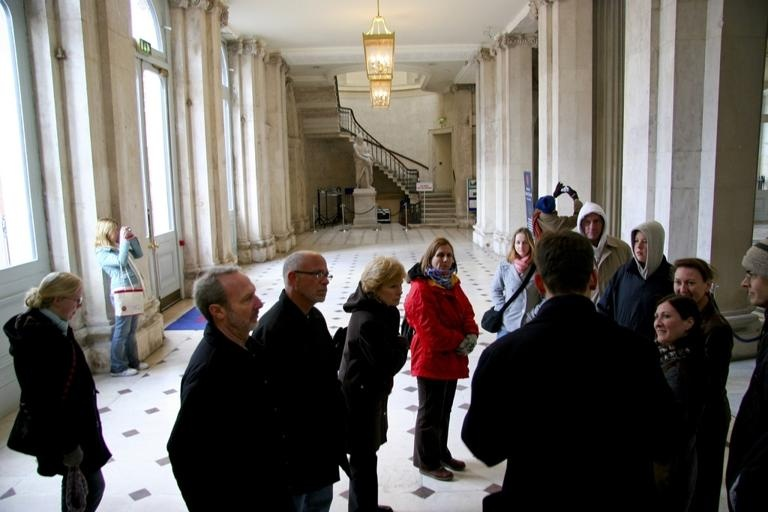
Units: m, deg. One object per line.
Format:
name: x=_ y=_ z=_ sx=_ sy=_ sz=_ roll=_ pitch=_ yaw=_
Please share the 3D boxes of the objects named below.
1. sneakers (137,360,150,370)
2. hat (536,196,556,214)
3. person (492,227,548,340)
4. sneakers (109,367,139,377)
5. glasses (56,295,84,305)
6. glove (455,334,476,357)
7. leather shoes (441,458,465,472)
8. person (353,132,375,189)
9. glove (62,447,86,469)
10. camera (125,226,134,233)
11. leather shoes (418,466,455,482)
sneakers: x=-2.830 y=1.285 z=6.278 sx=0.153 sy=0.066 sz=0.066 roll=-2 pitch=9 yaw=-3
hat: x=1.704 y=-0.542 z=5.664 sx=0.185 sy=0.196 sz=0.177 roll=-1 pitch=8 yaw=14
person: x=1.166 y=0.481 z=4.647 sx=0.469 sy=1.419 sz=0.362 roll=4 pitch=18 yaw=16
sneakers: x=-2.952 y=1.309 z=6.077 sx=0.274 sy=0.110 sz=0.099 roll=-3 pitch=3 yaw=-12
glasses: x=-2.066 y=0.284 z=3.512 sx=0.136 sy=0.043 sz=0.134 roll=1 pitch=4 yaw=11
glove: x=0.619 y=0.678 z=4.009 sx=0.060 sy=0.163 sz=0.124 roll=21 pitch=-11 yaw=-13
leather shoes: x=0.559 y=1.673 z=4.309 sx=0.156 sy=0.062 sz=0.090 roll=0 pitch=3 yaw=36
person: x=-0.806 y=-3.554 z=20.238 sx=0.615 sy=1.976 sz=0.791 roll=-4 pitch=8 yaw=-3
glove: x=-1.910 y=1.244 z=3.300 sx=0.126 sy=0.091 sz=0.109 roll=-13 pitch=-1 yaw=-2
camera: x=-2.896 y=-0.306 z=6.078 sx=0.078 sy=0.102 sz=0.102 roll=-5 pitch=0 yaw=-23
leather shoes: x=0.413 y=1.696 z=4.228 sx=0.212 sy=0.069 sz=0.115 roll=0 pitch=2 yaw=15
